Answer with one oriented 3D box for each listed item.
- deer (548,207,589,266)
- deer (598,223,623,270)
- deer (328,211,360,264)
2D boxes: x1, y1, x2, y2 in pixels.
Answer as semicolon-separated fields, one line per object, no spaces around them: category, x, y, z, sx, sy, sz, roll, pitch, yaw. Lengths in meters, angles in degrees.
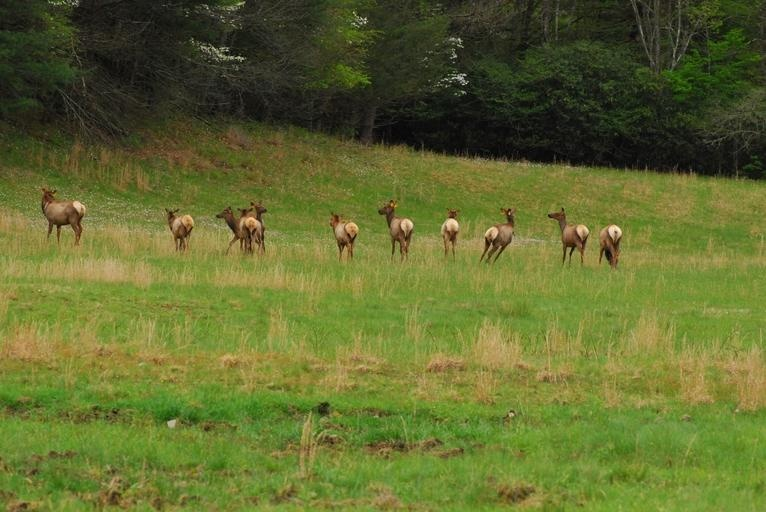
deer;8.276;-0.859;53.330;0.922;2.604;3.163;5;-1;-17
deer;9.618;-0.473;51.361;0.775;1.824;1.130;4;13;4
deer;-1.740;-0.710;51.583;0.738;2.086;3.070;1;2;-18
